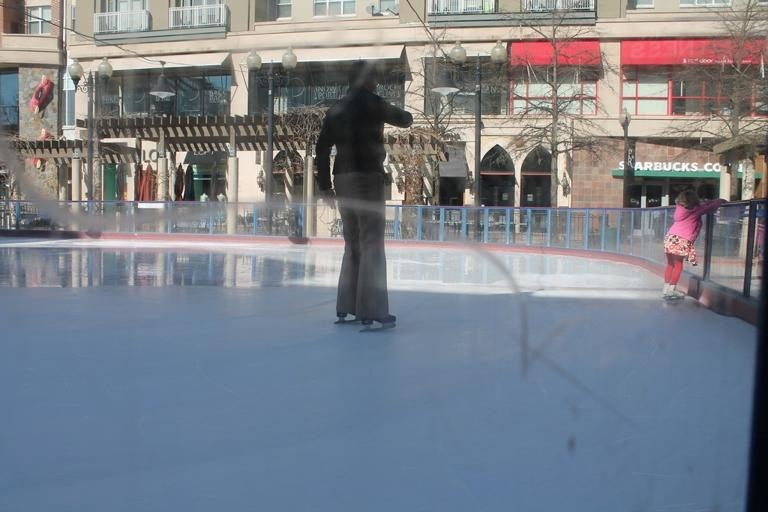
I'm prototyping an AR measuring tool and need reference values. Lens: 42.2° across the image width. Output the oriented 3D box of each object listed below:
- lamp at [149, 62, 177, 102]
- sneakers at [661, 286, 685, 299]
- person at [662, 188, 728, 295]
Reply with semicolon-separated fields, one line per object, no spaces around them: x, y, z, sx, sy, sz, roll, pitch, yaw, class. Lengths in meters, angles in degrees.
-7.465;-6.003;33.540;1.222;1.049;1.266;2;7;-3;lamp
5.218;0.662;17.996;0.481;0.213;0.191;-6;8;-33;sneakers
5.510;-0.210;18.073;0.987;1.931;0.752;-1;5;5;person
